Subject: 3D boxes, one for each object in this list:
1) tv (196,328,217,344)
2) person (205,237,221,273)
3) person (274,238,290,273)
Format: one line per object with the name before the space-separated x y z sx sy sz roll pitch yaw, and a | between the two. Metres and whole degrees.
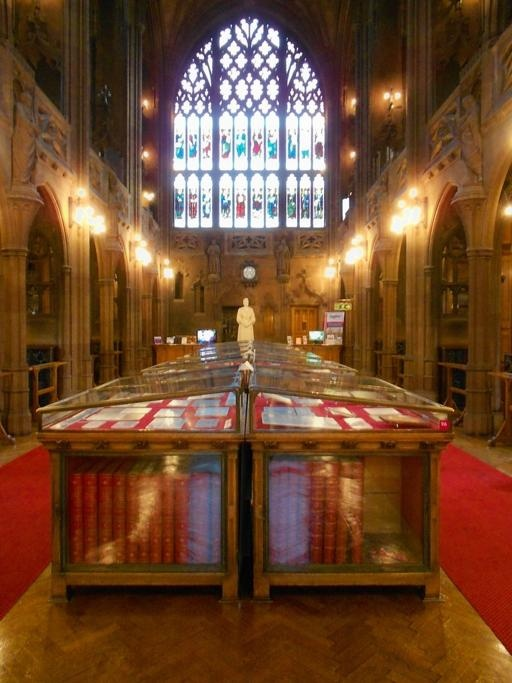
tv | -1.384 -0.127 15.430 0.590 0.504 0.345 0 0 -18
person | -1.504 -3.044 19.606 0.499 1.362 0.578 0 2 0
person | 1.012 -3.062 19.683 0.507 1.463 0.596 -1 2 -15
